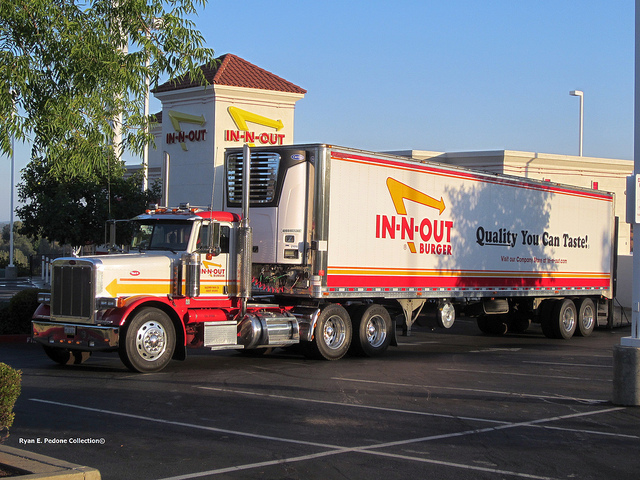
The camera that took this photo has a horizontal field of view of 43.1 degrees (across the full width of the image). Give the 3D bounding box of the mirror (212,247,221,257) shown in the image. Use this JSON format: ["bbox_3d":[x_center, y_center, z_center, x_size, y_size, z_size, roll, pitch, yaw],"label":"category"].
[{"bbox_3d":[-2.350,0.239,18.462,0.186,0.177,0.335,1,1,-8],"label":"mirror"}]

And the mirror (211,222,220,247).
[{"bbox_3d":[-2.349,-0.128,18.340,0.099,0.563,0.296,2,1,29],"label":"mirror"}]
